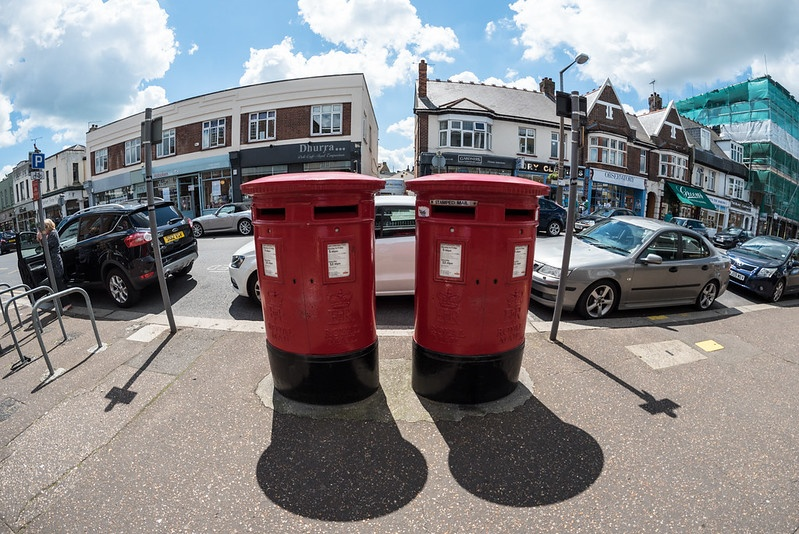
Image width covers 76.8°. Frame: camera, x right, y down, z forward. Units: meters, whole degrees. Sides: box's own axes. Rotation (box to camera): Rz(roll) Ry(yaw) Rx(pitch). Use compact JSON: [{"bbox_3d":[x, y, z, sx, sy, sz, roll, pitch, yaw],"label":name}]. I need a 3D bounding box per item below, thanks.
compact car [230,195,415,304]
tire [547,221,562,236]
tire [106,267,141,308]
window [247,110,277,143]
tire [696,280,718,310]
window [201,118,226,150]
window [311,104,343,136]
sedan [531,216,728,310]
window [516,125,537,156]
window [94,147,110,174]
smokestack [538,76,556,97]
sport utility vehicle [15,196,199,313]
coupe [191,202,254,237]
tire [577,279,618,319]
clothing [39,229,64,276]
[{"bbox_3d":[-1.300,-0.361,9.099,3.003,1.474,1.630,2,5,-3],"label":"compact car"},{"bbox_3d":[5.867,-1.496,19.075,0.437,0.458,0.156,-28,27,-26],"label":"tire"},{"bbox_3d":[-5.042,0.350,9.186,0.784,0.722,0.211,4,13,25],"label":"tire"},{"bbox_3d":[-7.021,-7.284,26.052,1.668,1.703,0.165,1,0,14],"label":"window"},{"bbox_3d":[5.815,0.507,9.528,0.501,0.536,0.168,-2,12,-21],"label":"tire"},{"bbox_3d":[-10.025,-7.284,27.410,1.768,1.832,0.179,0,0,21],"label":"window"},{"bbox_3d":[-3.554,-7.397,25.221,1.563,1.565,0.110,0,2,6],"label":"window"},{"bbox_3d":[4.218,-0.005,9.432,3.625,1.476,1.892,3,5,-14],"label":"sedan"},{"bbox_3d":[7.225,-7.297,28.660,1.585,2.033,0.214,-5,6,-27],"label":"window"},{"bbox_3d":[-20.069,-7.293,34.116,1.795,2.023,0.163,3,9,31],"label":"window"},{"bbox_3d":[9.583,-11.537,32.386,0.818,1.243,0.779,0,12,7],"label":"smokestack"},{"bbox_3d":[-5.921,-0.392,10.318,3.505,1.876,2.057,0,16,19],"label":"sport utility vehicle"},{"bbox_3d":[-6.744,-1.916,19.740,2.777,1.118,1.703,-5,15,-4],"label":"coupe"},{"bbox_3d":[3.552,0.625,8.757,0.276,0.814,0.781,21,-15,-27],"label":"tire"},{"bbox_3d":[-6.291,-0.053,9.139,0.313,1.195,0.306,-4,6,-43],"label":"clothing"}]
